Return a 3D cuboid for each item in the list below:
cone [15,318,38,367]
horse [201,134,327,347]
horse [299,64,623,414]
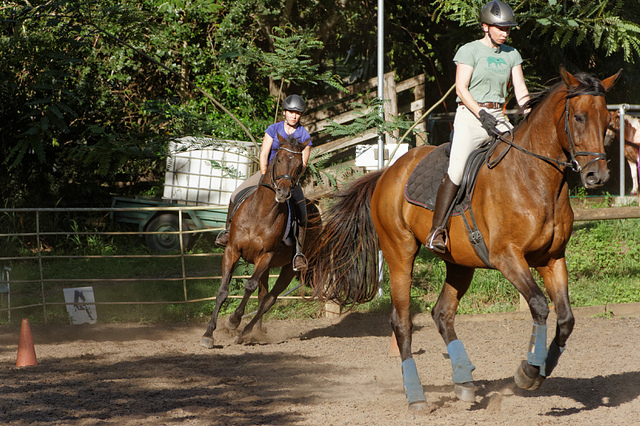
[{"bbox_3d":[-4.696,2.056,13.032,0.335,0.692,0.390,-6,12,-22],"label":"cone"},{"bbox_3d":[-0.965,0.420,14.572,1.949,3.713,3.176,-2,12,-5],"label":"horse"},{"bbox_3d":[2.057,0.208,11.944,3.975,4.655,1.533,5,13,27],"label":"horse"}]
